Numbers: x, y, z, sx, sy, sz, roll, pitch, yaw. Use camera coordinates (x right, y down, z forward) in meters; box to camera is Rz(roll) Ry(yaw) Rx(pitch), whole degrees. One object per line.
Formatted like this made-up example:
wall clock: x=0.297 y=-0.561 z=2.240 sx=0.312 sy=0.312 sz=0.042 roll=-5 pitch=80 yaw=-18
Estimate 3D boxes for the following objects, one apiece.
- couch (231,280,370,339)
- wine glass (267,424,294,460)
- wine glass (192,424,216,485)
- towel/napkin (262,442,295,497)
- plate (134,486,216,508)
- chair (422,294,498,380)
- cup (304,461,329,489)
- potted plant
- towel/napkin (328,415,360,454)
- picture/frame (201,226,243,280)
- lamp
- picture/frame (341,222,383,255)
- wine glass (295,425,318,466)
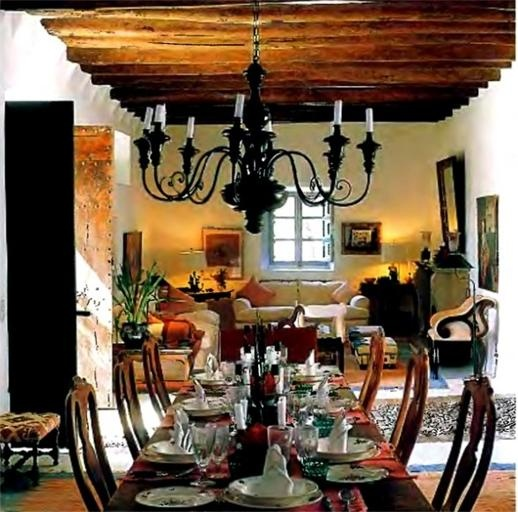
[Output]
couch: x=0.649 y=0.783 z=9.663 sx=1.986 sy=0.786 sz=1.387 roll=-1 pitch=1 yaw=11
wine glass: x=0.066 y=0.565 z=1.967 sx=0.079 sy=0.115 sz=0.090 roll=2 pitch=1 yaw=24
wine glass: x=-0.178 y=0.595 z=1.948 sx=0.069 sy=0.178 sz=0.112 roll=-1 pitch=0 yaw=-20
towel/napkin: x=0.051 y=0.634 z=1.830 sx=0.089 sy=0.166 sz=0.079 roll=-9 pitch=-27 yaw=20
plate: x=-0.246 y=0.707 z=1.862 sx=0.242 sy=0.012 sz=0.163 roll=-1 pitch=1 yaw=16
chair: x=2.254 y=0.920 z=7.044 sx=0.863 sy=1.352 sz=0.894 roll=1 pitch=-2 yaw=8
cup: x=0.177 y=0.672 z=1.961 sx=0.058 sy=0.072 sz=0.063 roll=0 pitch=-5 yaw=0
potted plant: x=-1.323 y=0.593 z=6.893 sx=0.527 sy=0.840 sz=0.479 roll=3 pitch=-4 yaw=-34
towel/napkin: x=0.274 y=0.625 z=2.199 sx=0.072 sy=0.133 sz=0.061 roll=8 pitch=5 yaw=30
picture/frame: x=-0.630 y=-0.049 z=10.338 sx=0.686 sy=1.034 sz=0.066 roll=0 pitch=1 yaw=4
lamp: x=-0.002 y=-1.456 z=6.499 sx=1.583 sy=1.999 sz=1.599 roll=1 pitch=0 yaw=-1
picture/frame: x=1.682 y=-0.294 z=10.319 sx=0.429 sy=0.445 sz=0.053 roll=0 pitch=4 yaw=5
wine glass: x=0.143 y=0.588 z=1.981 sx=0.082 sy=0.116 sz=0.058 roll=-1 pitch=0 yaw=22
